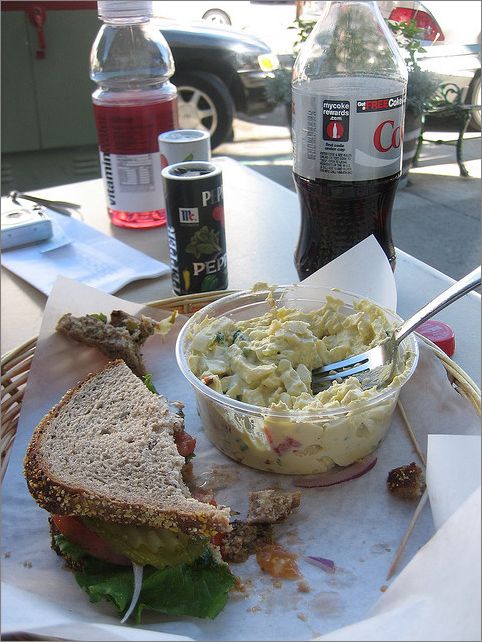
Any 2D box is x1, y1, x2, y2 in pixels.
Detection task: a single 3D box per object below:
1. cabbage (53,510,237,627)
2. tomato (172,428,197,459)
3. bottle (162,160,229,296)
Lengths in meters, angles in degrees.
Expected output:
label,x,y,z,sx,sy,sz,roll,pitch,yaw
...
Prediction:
label,x,y,z,sx,sy,sz,roll,pitch,yaw
cabbage,-0.128,0.285,0.679,0.240,0.059,0.110,10,32,18
tomato,-0.077,0.172,0.830,0.034,0.016,0.039,-7,46,-18
bottle,-0.084,-0.161,1.112,0.120,0.243,0.102,8,33,15
